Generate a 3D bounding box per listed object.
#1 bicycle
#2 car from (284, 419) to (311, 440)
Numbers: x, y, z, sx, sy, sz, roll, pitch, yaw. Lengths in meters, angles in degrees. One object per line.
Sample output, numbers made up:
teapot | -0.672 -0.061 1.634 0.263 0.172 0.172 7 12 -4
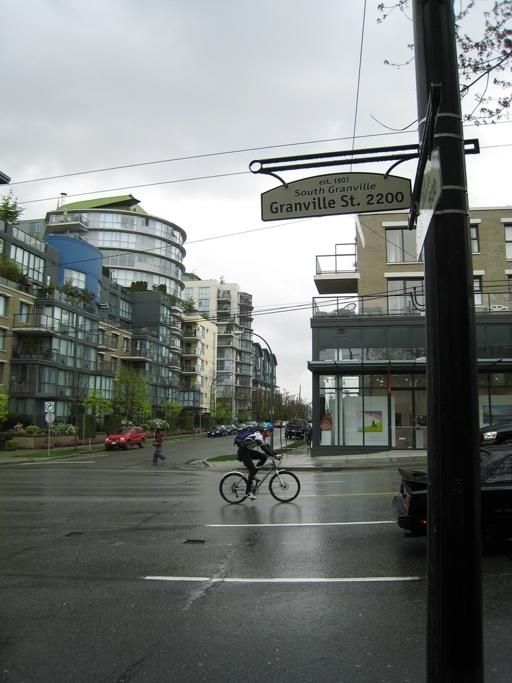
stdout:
bicycle | 0.058 2.721 13.434 1.623 0.956 0.828 -1 -7 -4
car | 3.147 6.755 51.780 1.459 1.294 2.979 1 2 15
